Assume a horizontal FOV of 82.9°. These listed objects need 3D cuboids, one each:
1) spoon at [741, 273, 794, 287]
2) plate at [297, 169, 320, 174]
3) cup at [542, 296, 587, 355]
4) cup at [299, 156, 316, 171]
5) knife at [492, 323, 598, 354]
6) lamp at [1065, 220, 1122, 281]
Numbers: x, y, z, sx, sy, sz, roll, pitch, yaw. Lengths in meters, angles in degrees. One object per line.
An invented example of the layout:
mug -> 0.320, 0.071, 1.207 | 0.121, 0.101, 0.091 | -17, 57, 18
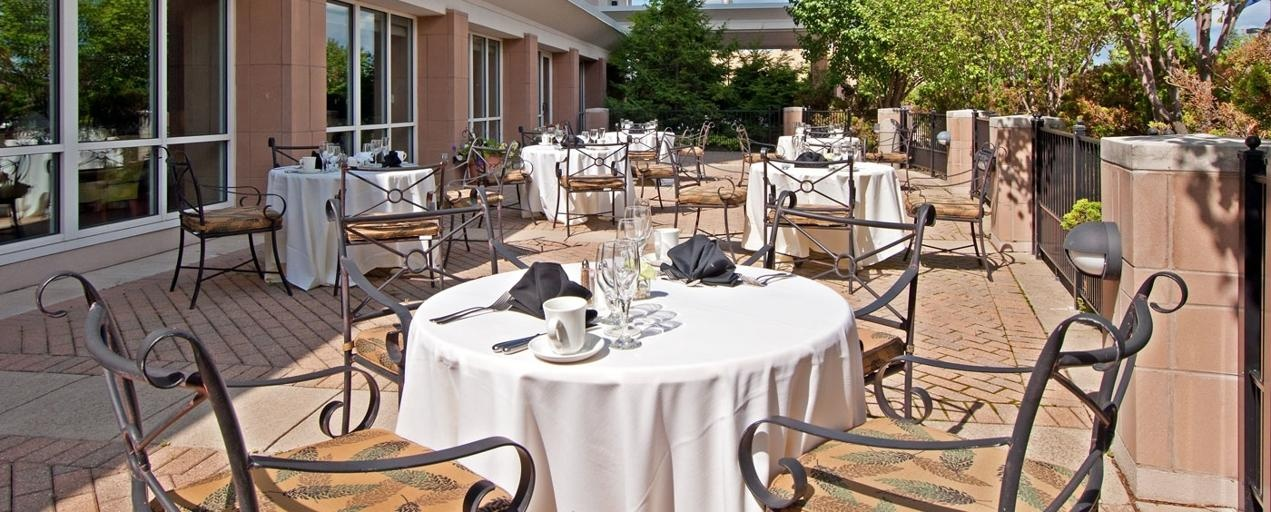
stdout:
spoon -> 1.414, 0.243, 7.745 | 0.499, 0.057, 0.196 | -6, 14, -19
plate -> -5.163, -1.356, 11.412 | 0.367, 0.069, 0.271 | -2, 14, -3
cup -> -0.663, 0.662, 6.923 | 0.390, 0.493, 0.292 | -4, 15, -8
cup -> -5.193, -1.476, 11.477 | 0.236, 0.214, 0.184 | -8, 16, -22
knife -> -0.864, 0.811, 6.932 | 0.332, 0.268, 0.477 | 2, 6, 18
lamp -> 4.932, -0.060, 7.787 | 0.552, 0.605, 0.272 | 5, 16, 25
